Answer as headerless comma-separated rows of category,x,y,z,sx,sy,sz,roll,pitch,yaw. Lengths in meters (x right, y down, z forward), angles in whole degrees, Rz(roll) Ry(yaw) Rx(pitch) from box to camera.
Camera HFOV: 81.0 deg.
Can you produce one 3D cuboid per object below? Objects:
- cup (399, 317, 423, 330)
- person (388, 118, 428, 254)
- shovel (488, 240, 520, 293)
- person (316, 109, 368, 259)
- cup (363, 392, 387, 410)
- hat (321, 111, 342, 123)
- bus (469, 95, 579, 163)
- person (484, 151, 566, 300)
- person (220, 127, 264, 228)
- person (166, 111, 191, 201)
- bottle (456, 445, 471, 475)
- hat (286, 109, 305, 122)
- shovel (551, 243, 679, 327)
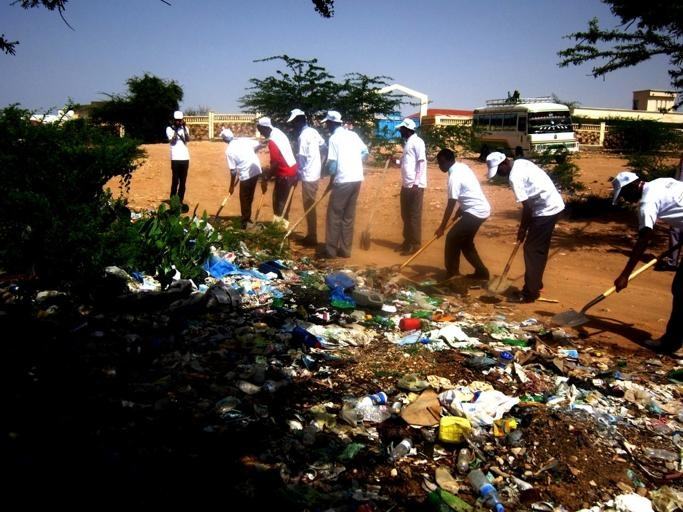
cup,0.830,0.796,4.819,0.266,0.123,0.238,4,14,8
person,1.320,-1.333,7.722,0.588,2.513,0.631,8,16,18
shovel,2.793,0.197,6.883,0.262,0.158,0.956,34,59,-2
person,0.042,-1.269,7.238,0.679,2.570,0.800,2,15,0
cup,0.283,1.252,3.515,0.221,0.117,0.116,-11,56,-24
hat,-0.149,-2.511,7.252,0.267,0.225,0.468,0,14,-7
bus,8.770,-6.254,19.762,2.482,2.414,5.295,-9,20,-10
person,2.572,-0.421,5.694,0.911,2.026,0.745,10,17,25
person,-2.109,-1.658,8.520,0.756,1.961,1.195,-2,16,-16
person,-3.867,-2.301,9.518,0.477,2.147,0.973,-4,16,-21
bottle,0.910,1.522,2.992,0.076,0.050,0.152,4,17,19
hat,-0.870,-2.589,7.419,0.327,0.225,0.150,15,20,41
shovel,4.004,0.444,5.875,2.334,0.249,0.535,-36,14,9
